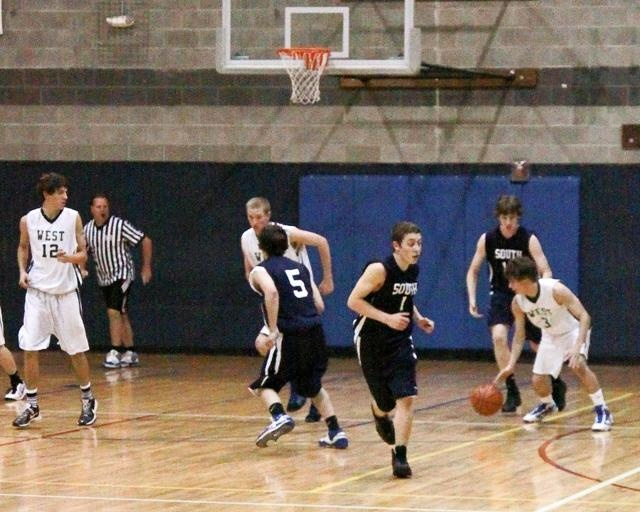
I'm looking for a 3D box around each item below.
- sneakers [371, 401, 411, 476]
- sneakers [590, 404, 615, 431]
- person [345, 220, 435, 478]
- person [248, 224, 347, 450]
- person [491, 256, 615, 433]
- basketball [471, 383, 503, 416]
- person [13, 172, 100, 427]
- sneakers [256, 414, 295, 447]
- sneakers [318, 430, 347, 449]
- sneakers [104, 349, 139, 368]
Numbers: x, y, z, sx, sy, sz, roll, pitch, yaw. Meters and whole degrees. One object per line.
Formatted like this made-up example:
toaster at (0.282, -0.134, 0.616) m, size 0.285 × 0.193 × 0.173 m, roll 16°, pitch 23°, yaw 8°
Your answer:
sneakers at (0.495, 1.391, 7.618) m, size 0.160 × 0.259 × 0.586 m, roll -7°, pitch 29°, yaw -1°
sneakers at (2.301, 1.373, 8.659) m, size 0.103 × 0.184 × 0.345 m, roll -5°, pitch -5°, yaw 17°
person at (0.486, 0.677, 7.575) m, size 0.589 × 1.841 × 0.558 m, roll 0°, pitch 3°, yaw 7°
person at (-0.214, 0.651, 7.993) m, size 0.703 × 1.780 × 0.512 m, roll -1°, pitch 3°, yaw -9°
person at (1.915, 0.739, 8.681) m, size 0.867 × 1.475 × 0.712 m, roll 1°, pitch 4°, yaw 18°
basketball at (1.353, 1.206, 8.680) m, size 0.223 × 0.273 × 0.249 m, roll -9°, pitch 1°, yaw 12°
person at (-2.306, 0.380, 8.939) m, size 0.692 × 2.186 × 0.672 m, roll -1°, pitch 4°, yaw -14°
sneakers at (-0.370, 1.395, 8.097) m, size 0.279 × 0.106 × 0.142 m, roll -37°, pitch 24°, yaw 12°
sneakers at (0.069, 1.461, 8.203) m, size 0.243 × 0.131 × 0.099 m, roll 2°, pitch 5°, yaw 36°
sneakers at (-2.324, 1.220, 12.183) m, size 0.431 × 0.207 × 0.243 m, roll -3°, pitch 5°, yaw -29°
